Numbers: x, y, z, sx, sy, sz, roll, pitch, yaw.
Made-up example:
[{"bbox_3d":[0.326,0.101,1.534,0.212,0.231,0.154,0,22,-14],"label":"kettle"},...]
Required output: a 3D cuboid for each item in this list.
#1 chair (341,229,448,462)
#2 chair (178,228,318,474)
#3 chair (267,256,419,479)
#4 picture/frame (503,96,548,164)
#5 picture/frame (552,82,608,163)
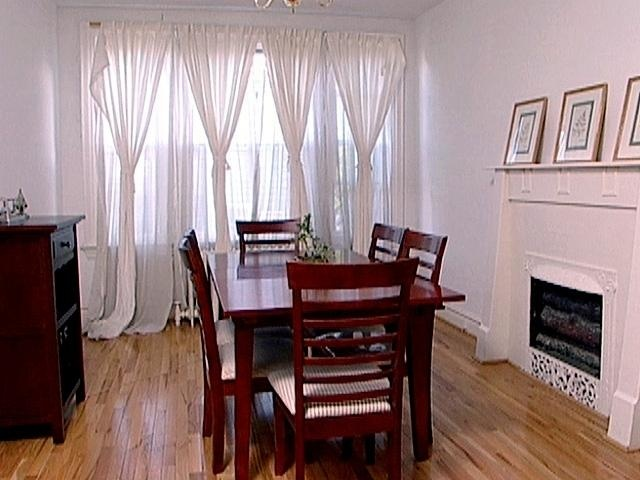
[{"bbox_3d":[0.415,0.621,2.759,0.518,0.634,1.131,1,6,7],"label":"chair"},{"bbox_3d":[-0.415,0.680,2.936,0.843,1.720,0.957,-3,9,-13],"label":"chair"},{"bbox_3d":[0.069,0.671,2.642,0.669,1.318,0.728,-3,11,-12],"label":"chair"},{"bbox_3d":[1.623,-0.849,3.922,0.024,0.641,0.469,13,-13,-16],"label":"picture/frame"},{"bbox_3d":[1.801,-0.792,3.466,0.121,0.524,0.339,-5,12,-24],"label":"picture/frame"}]
